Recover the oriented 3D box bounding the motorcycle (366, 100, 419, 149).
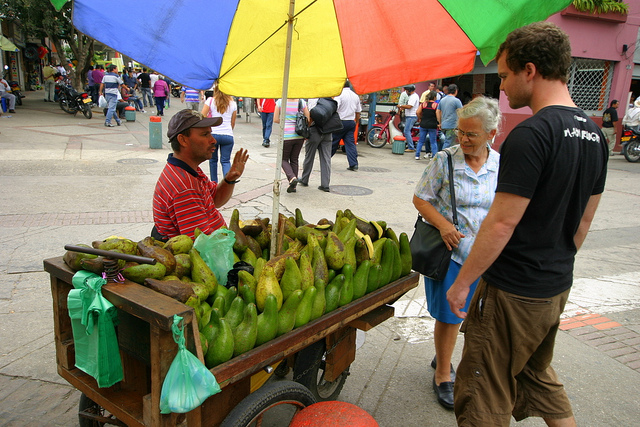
[{"bbox_3d":[3.276,-3.274,16.433,2.968,1.763,1.072,6,-5,-6],"label":"motorcycle"}]

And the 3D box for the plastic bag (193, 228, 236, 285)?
[{"bbox_3d":[-0.790,0.308,3.153,0.278,0.407,0.151,-10,4,-31],"label":"plastic bag"}]

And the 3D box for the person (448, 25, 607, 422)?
[{"bbox_3d":[1.385,0.139,2.782,0.946,2.655,0.508,-3,13,-19],"label":"person"}]

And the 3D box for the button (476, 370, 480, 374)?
[{"bbox_3d":[1.059,1.058,2.821,0.027,0.024,0.007,6,1,10],"label":"button"}]

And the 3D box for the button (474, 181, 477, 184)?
[{"bbox_3d":[1.301,-0.264,3.524,0.025,0.024,0.006,-3,-7,1],"label":"button"}]

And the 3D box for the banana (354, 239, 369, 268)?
[{"bbox_3d":[0.334,0.316,3.378,0.106,0.216,0.073,-6,6,20],"label":"banana"}]

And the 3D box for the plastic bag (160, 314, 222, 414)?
[{"bbox_3d":[-0.735,0.842,2.314,0.287,0.586,0.184,6,13,20],"label":"plastic bag"}]

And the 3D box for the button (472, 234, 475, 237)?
[{"bbox_3d":[1.292,0.181,3.544,0.015,0.017,0.015,1,-17,-3],"label":"button"}]

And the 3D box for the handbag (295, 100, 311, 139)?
[{"bbox_3d":[-0.369,-1.899,8.457,0.323,0.872,0.639,-2,12,-1],"label":"handbag"}]

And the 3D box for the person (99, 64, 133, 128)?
[{"bbox_3d":[-8.345,-4.762,17.059,1.224,2.412,0.777,1,14,-24],"label":"person"}]

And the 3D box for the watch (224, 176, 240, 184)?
[{"bbox_3d":[-0.826,-0.314,3.911,0.074,0.068,0.073,-4,0,9],"label":"watch"}]

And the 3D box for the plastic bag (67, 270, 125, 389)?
[{"bbox_3d":[-1.409,0.703,2.605,0.333,0.707,0.143,7,14,24],"label":"plastic bag"}]

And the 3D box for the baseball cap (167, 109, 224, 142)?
[{"bbox_3d":[-1.080,-0.812,3.633,0.449,0.220,0.288,-19,9,22],"label":"baseball cap"}]
